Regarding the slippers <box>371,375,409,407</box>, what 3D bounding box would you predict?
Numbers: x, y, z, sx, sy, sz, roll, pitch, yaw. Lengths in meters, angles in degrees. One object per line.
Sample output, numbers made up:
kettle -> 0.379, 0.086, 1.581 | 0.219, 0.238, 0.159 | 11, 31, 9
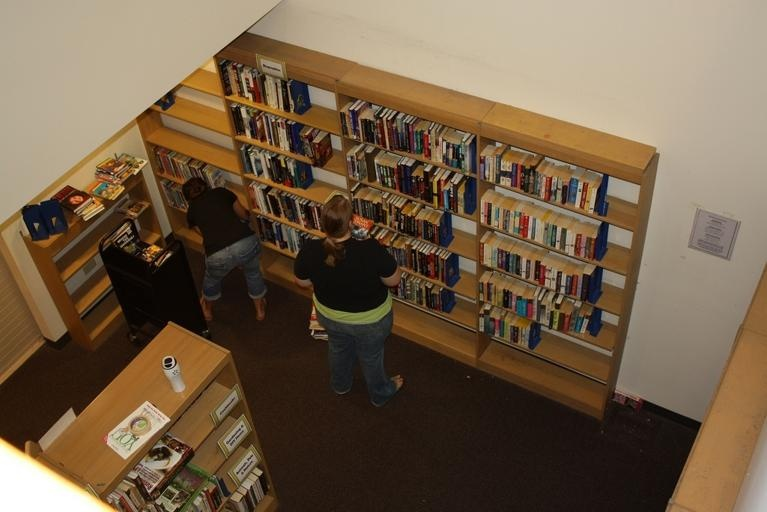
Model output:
slippers -> 0.079, 1.415, 5.927 | 0.167, 0.195, 0.500 | 19, 39, 23

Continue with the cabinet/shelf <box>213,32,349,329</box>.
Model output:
cabinet/shelf -> -1.015, -1.196, 6.572 | 1.530, 2.760, 0.468 | 11, 57, -6

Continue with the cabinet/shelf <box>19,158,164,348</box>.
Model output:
cabinet/shelf -> -3.144, 0.049, 5.949 | 0.441, 1.658, 1.523 | 20, 47, 24
